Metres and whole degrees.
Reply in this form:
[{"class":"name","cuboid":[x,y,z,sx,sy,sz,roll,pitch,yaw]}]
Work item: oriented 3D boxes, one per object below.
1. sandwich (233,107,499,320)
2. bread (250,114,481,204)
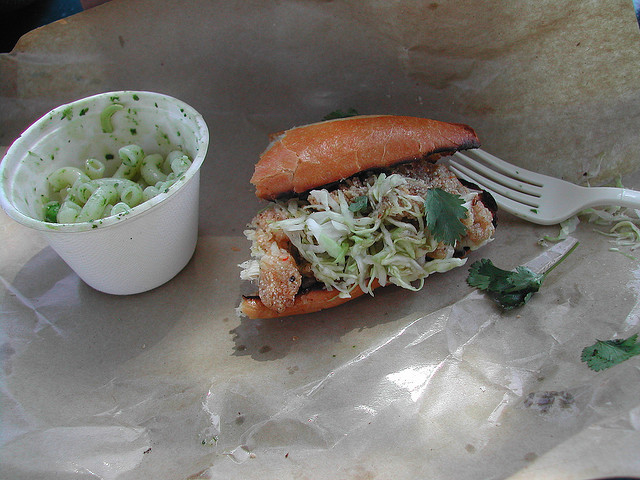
[{"class":"sandwich","cuboid":[0.091,-0.078,1.601,0.655,0.276,0.414,-11,54,-2]},{"class":"bread","cuboid":[0.096,-0.192,1.571,0.443,0.118,0.231,-19,24,-2]}]
